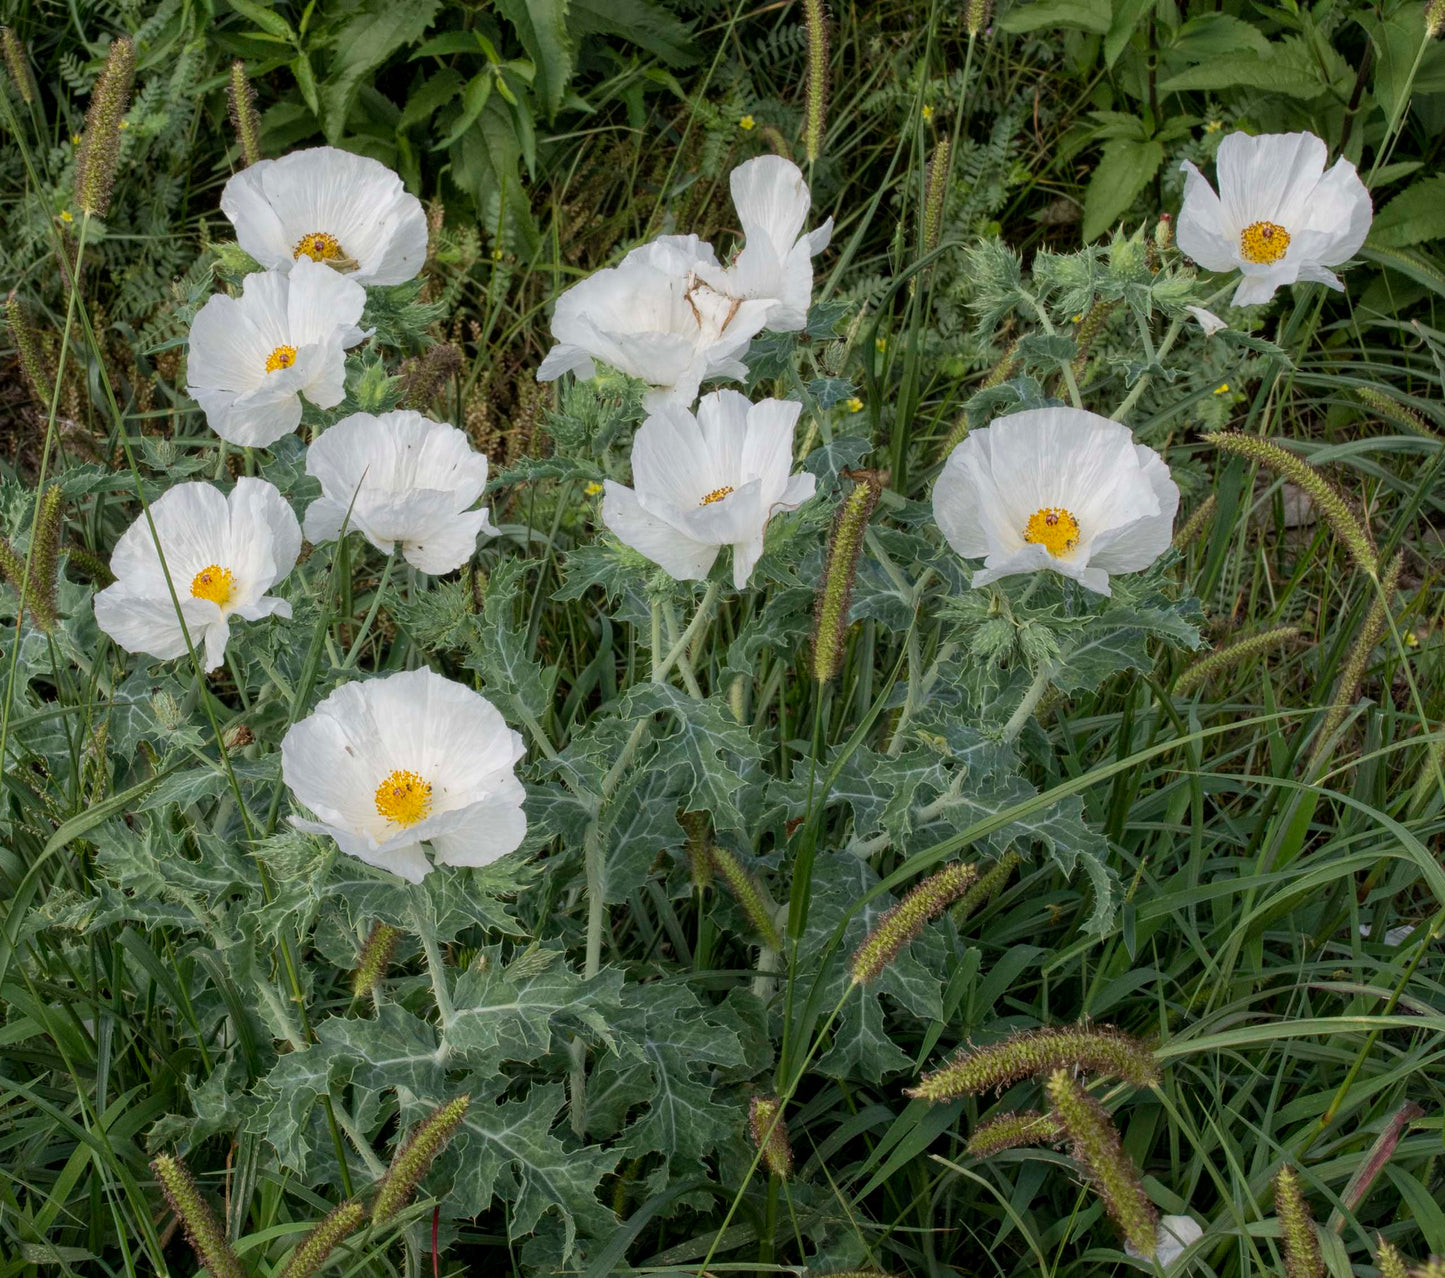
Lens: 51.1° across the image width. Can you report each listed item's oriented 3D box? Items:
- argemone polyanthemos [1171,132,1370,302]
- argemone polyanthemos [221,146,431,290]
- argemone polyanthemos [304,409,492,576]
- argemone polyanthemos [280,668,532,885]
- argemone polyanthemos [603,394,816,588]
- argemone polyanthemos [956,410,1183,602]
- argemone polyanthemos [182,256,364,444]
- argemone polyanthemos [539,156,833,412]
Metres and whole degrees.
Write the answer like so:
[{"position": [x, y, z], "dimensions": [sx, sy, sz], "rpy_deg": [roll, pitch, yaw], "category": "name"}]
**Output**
[{"position": [0.940, -0.753, 2.572], "dimensions": [0.289, 0.324, 0.136], "rpy_deg": [2, 87, -29], "category": "argemone polyanthemos"}, {"position": [-0.616, -0.666, 2.330], "dimensions": [0.240, 0.104, 0.277], "rpy_deg": [-25, 79, -25], "category": "argemone polyanthemos"}, {"position": [-0.479, -0.198, 2.205], "dimensions": [0.221, 0.233, 0.136], "rpy_deg": [-3, 95, -34], "category": "argemone polyanthemos"}, {"position": [-0.395, 0.179, 1.870], "dimensions": [0.256, 0.106, 0.300], "rpy_deg": [16, 37, 3], "category": "argemone polyanthemos"}, {"position": [0.050, -0.188, 2.148], "dimensions": [0.329, 0.383, 0.171], "rpy_deg": [-1, 63, 3], "category": "argemone polyanthemos"}, {"position": [0.465, -0.212, 2.077], "dimensions": [0.261, 0.121, 0.279], "rpy_deg": [-17, 69, -6], "category": "argemone polyanthemos"}, {"position": [-0.696, -0.420, 2.350], "dimensions": [0.321, 0.316, 0.167], "rpy_deg": [-17, 88, 24], "category": "argemone polyanthemos"}, {"position": [-0.034, -0.487, 2.143], "dimensions": [0.322, 0.189, 0.396], "rpy_deg": [-12, 27, 17], "category": "argemone polyanthemos"}]
